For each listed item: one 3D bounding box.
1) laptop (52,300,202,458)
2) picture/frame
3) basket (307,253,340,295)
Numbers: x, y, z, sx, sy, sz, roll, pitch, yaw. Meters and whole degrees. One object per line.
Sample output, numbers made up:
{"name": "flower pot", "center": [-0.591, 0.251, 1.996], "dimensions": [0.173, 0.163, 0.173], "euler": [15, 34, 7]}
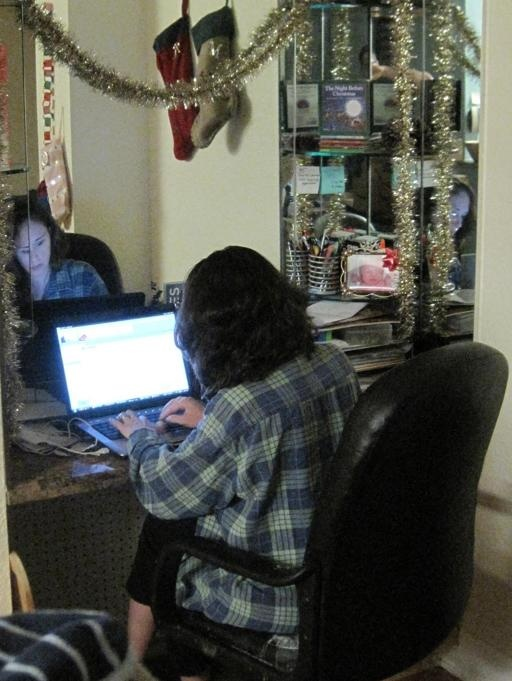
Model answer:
{"name": "laptop", "center": [-0.316, 0.059, 1.544], "dimensions": [0.359, 0.239, 0.302], "euler": [-10, 21, -35]}
{"name": "picture/frame", "center": [0.245, -0.653, 1.854], "dimensions": [0.331, 0.150, 0.017], "euler": [-5, 15, -14]}
{"name": "basket", "center": [0.201, -0.195, 1.931], "dimensions": [0.111, 0.108, 0.113], "euler": [1, 7, 8]}
